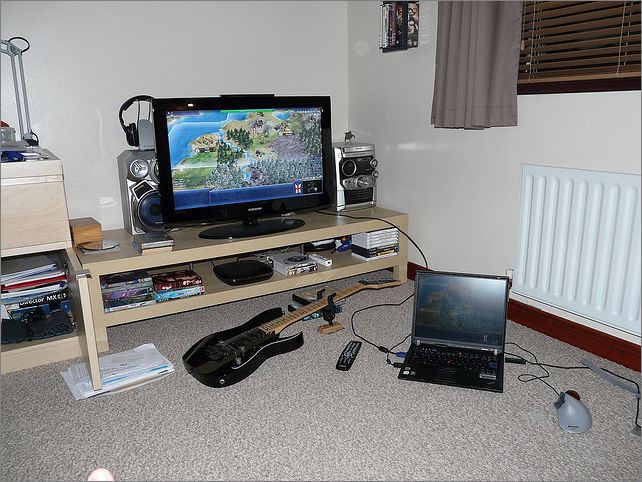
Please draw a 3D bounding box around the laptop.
[{"bbox_3d":[0.657,0.380,2.186,0.527,0.373,0.541,6,28,20],"label":"laptop"}]

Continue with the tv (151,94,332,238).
[{"bbox_3d":[-0.415,-0.470,2.688,1.126,0.789,0.279,-9,18,-29],"label":"tv"}]

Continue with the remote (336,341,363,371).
[{"bbox_3d":[0.129,0.567,2.253,0.075,0.032,0.223,6,26,19],"label":"remote"}]

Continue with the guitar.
[{"bbox_3d":[-0.174,0.487,2.433,1.038,0.174,0.301,-16,29,-39],"label":"guitar"}]

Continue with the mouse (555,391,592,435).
[{"bbox_3d":[0.992,0.670,1.800,0.129,0.053,0.163,-25,32,9],"label":"mouse"}]

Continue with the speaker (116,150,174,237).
[{"bbox_3d":[-0.995,-0.282,2.670,0.310,0.494,0.264,-13,21,-34],"label":"speaker"}]

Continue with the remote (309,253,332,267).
[{"bbox_3d":[-0.019,0.099,2.916,0.052,0.056,0.223,-9,25,-36],"label":"remote"}]
